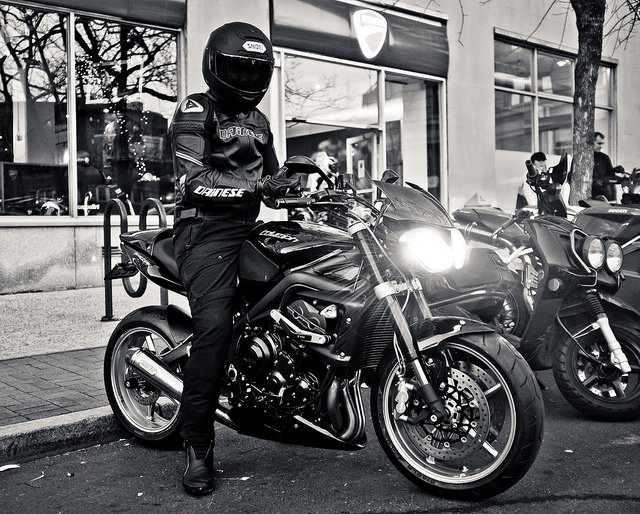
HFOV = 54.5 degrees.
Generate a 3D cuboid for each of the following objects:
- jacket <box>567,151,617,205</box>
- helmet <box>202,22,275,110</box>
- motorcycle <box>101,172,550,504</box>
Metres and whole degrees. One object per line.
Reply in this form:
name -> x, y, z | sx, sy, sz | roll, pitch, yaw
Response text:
jacket -> 5.474, -1.420, 12.690 | 0.650, 0.651, 1.168 | 20, 3, -5
helmet -> -0.511, -1.222, 3.913 | 0.423, 0.525, 0.511 | -1, 17, -34
motorcycle -> -0.177, 0.406, 3.838 | 2.738, 1.851, 0.999 | 1, 2, 25
